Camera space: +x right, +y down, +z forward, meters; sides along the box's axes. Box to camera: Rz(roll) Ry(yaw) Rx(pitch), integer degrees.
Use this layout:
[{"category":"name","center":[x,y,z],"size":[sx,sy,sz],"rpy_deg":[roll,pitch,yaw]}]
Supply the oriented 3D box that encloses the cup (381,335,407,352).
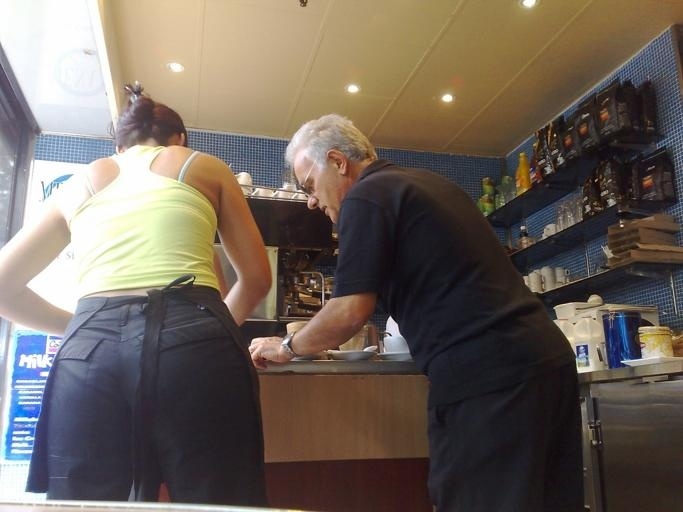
[{"category":"cup","center":[0.225,0.369,2.033],"size":[0.078,0.062,0.080],"rpy_deg":[1,-12,0]}]

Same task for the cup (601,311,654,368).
[{"category":"cup","center":[1.612,0.435,2.703],"size":[0.323,0.348,0.195],"rpy_deg":[-1,-14,11]}]

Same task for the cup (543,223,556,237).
[{"category":"cup","center":[1.760,-0.215,4.248],"size":[0.101,0.094,0.096],"rpy_deg":[8,-8,1]}]

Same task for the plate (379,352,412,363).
[{"category":"plate","center":[0.211,0.389,1.907],"size":[0.129,0.029,0.135],"rpy_deg":[2,-9,-9]}]
